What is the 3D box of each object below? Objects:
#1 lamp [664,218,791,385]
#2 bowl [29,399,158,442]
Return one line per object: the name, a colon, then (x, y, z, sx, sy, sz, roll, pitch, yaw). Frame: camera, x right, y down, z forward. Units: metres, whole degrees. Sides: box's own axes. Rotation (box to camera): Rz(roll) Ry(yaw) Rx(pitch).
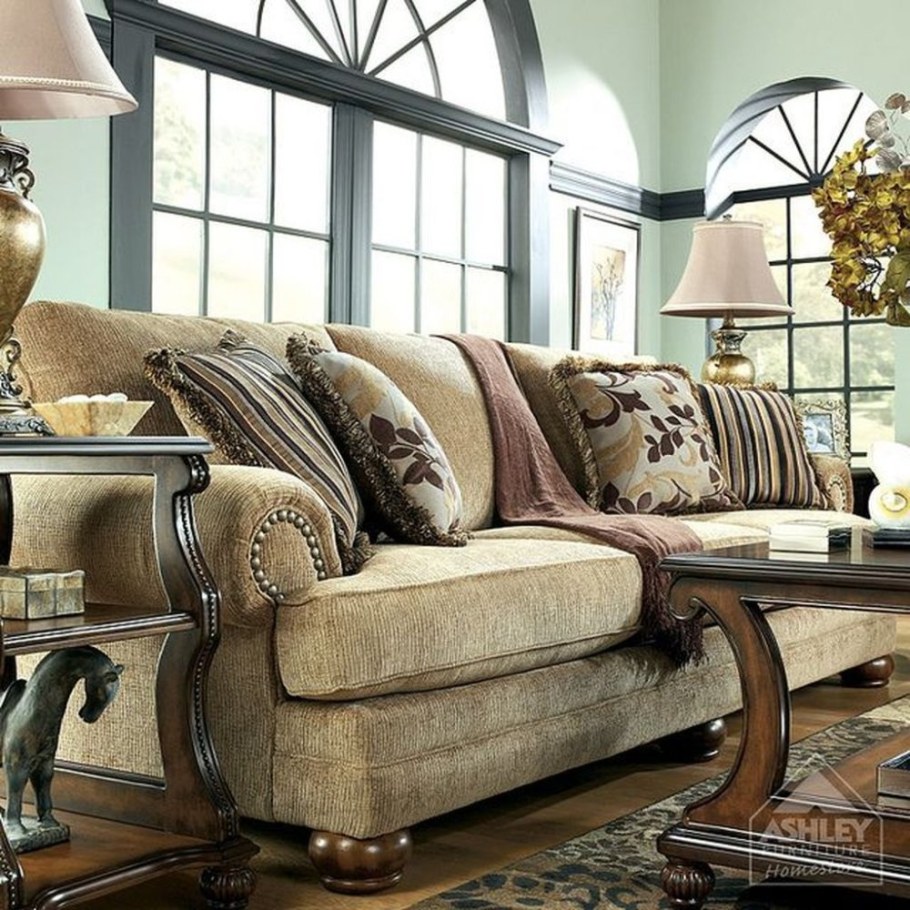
lamp: (1.149, -0.620, 3.844, 0.644, 0.675, 0.583, -4, 5, -11)
bowl: (-0.515, -0.053, 1.299, 0.147, 0.050, 0.075, 1, -4, -21)
